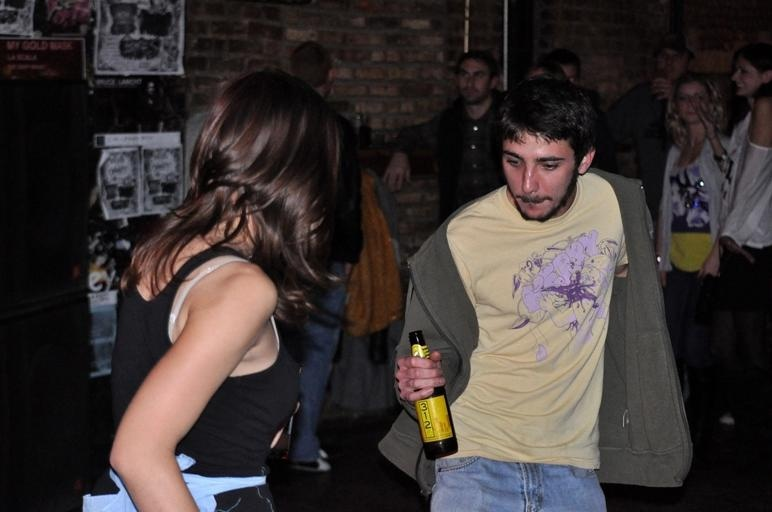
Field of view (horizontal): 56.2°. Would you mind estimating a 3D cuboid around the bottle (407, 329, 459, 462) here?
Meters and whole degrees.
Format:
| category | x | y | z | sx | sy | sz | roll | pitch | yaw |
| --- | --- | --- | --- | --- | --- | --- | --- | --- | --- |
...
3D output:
| category | x | y | z | sx | sy | sz | roll | pitch | yaw |
| --- | --- | --- | --- | --- | --- | --- | --- | --- | --- |
| bottle | 0.173 | 0.513 | 2.684 | 0.150 | 0.461 | 0.183 | -3 | 9 | -12 |
